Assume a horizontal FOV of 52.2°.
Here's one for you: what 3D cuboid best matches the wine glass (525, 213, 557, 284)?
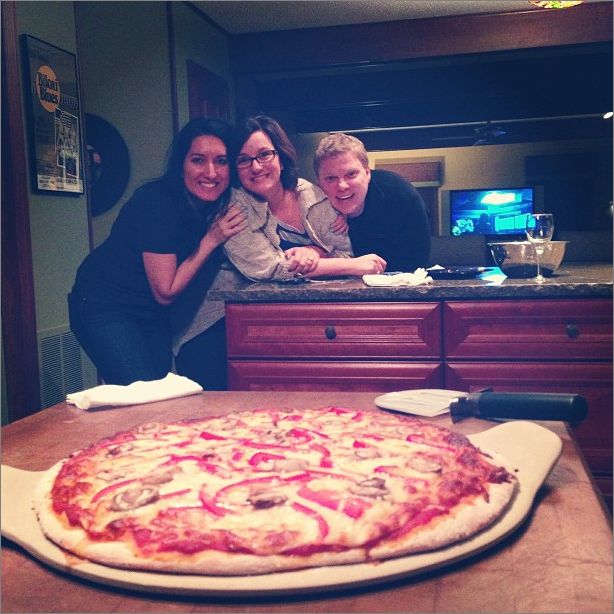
[{"bbox_3d":[0.816,-0.211,2.197,0.078,0.234,0.220,2,11,19],"label":"wine glass"}]

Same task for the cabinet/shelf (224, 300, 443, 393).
[{"bbox_3d":[0.175,0.223,2.434,0.848,0.493,0.438,-2,-1,19],"label":"cabinet/shelf"}]

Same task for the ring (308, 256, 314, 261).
[{"bbox_3d":[0.022,-0.219,2.843,0.022,0.018,0.014,-4,11,-16],"label":"ring"}]
